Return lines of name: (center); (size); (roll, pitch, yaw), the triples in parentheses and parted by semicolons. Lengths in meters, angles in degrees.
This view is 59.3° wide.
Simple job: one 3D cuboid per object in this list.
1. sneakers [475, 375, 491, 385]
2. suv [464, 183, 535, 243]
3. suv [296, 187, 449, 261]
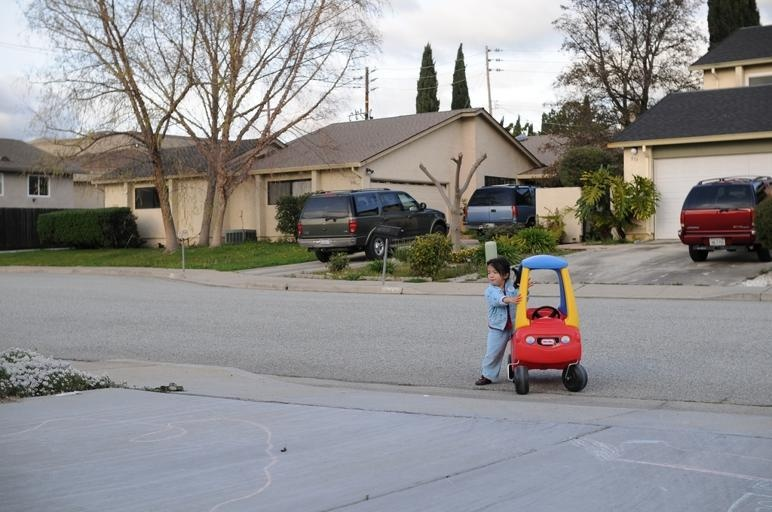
sneakers: (1.308, 1.673, 9.163); (0.246, 0.119, 0.094); (4, 1, -13)
suv: (4.505, -1.814, 27.732); (1.677, 1.537, 3.156); (1, 9, 33)
suv: (-0.335, -1.440, 24.799); (2.502, 2.118, 4.967); (1, 7, 41)
